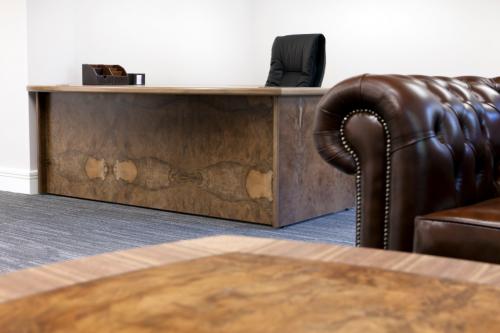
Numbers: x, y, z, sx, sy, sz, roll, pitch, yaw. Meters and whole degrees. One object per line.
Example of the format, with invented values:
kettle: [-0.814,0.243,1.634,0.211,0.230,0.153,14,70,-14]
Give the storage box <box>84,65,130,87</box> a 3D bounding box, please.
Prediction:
storage box: [-1.678,-1.066,4.398,0.414,0.303,0.449,3,4,18]
